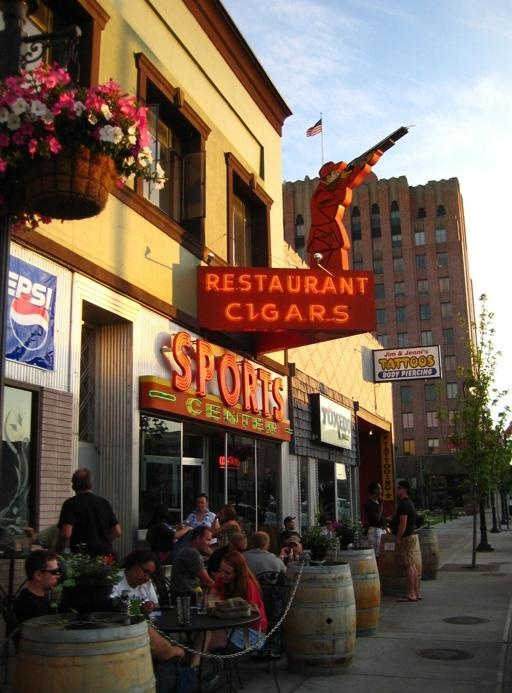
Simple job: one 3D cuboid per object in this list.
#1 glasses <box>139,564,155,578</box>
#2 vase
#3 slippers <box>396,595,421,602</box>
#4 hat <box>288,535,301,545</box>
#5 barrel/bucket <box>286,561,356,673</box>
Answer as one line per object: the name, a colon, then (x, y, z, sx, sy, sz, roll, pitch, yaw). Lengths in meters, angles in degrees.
glasses: (-0.807, 1.647, 4.807, 0.099, 0.071, 0.133, 20, -36, -34)
vase: (-1.117, -0.953, 3.925, 0.409, 0.210, 0.405, -3, -6, -25)
slippers: (2.556, 4.214, 10.946, 0.405, 0.094, 0.469, -4, -11, 11)
hat: (0.565, 2.859, 9.715, 0.195, 0.112, 0.287, -1, -15, 8)
barrel/bucket: (0.584, 2.685, 6.560, 0.775, 1.084, 0.796, 2, -15, 0)
